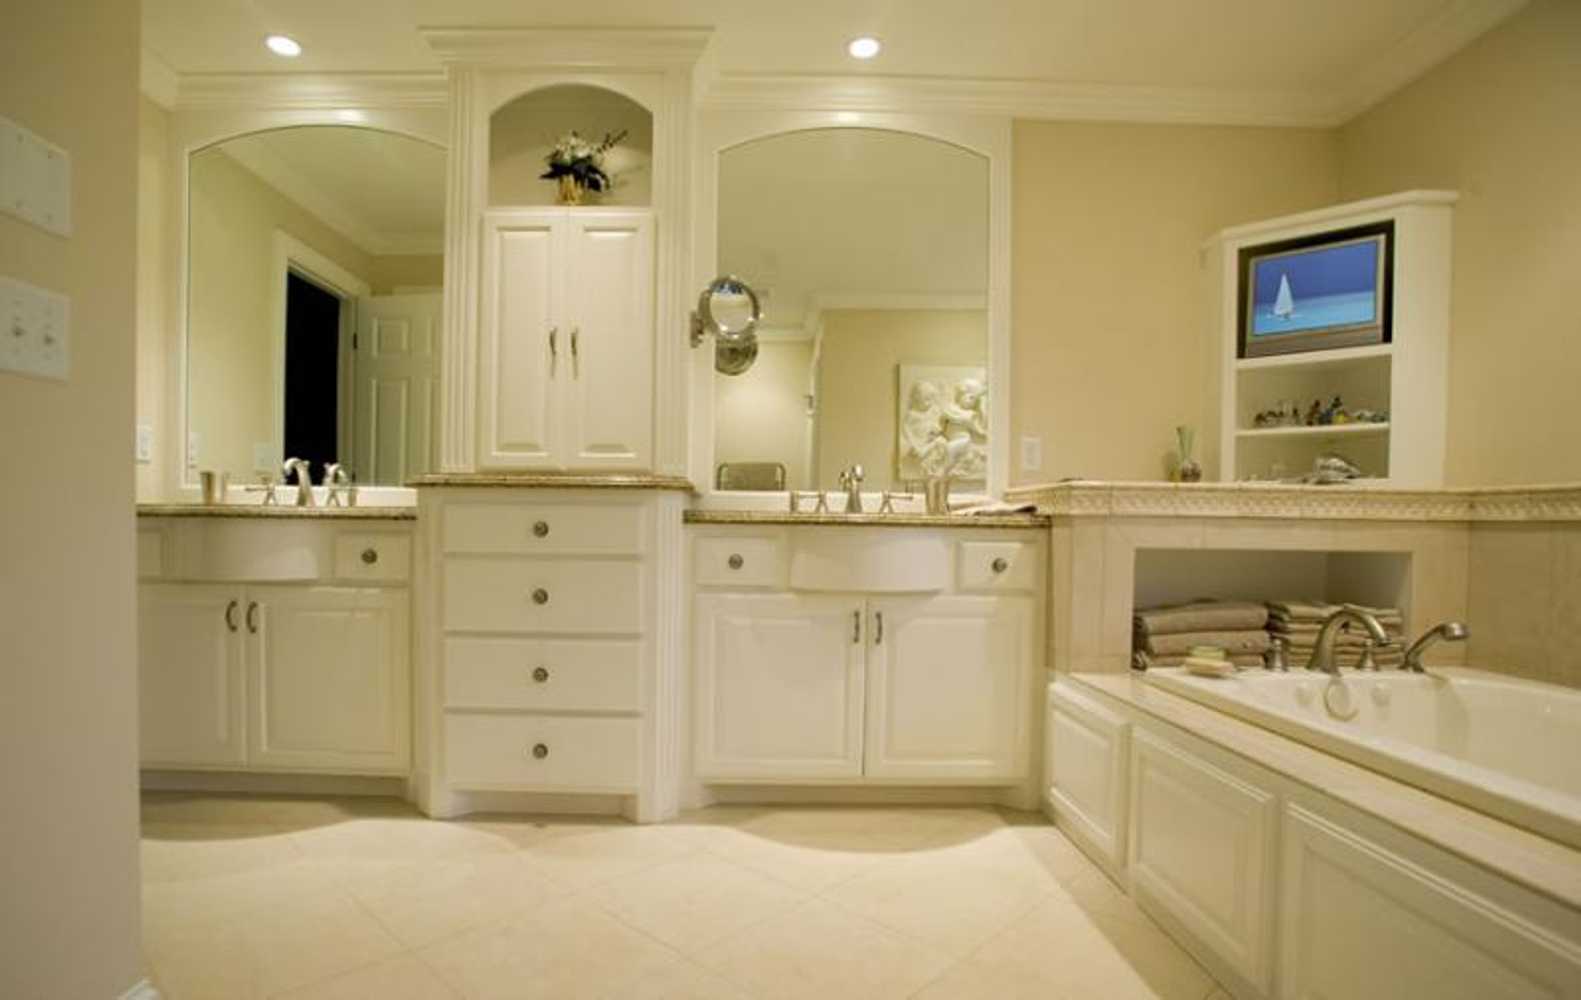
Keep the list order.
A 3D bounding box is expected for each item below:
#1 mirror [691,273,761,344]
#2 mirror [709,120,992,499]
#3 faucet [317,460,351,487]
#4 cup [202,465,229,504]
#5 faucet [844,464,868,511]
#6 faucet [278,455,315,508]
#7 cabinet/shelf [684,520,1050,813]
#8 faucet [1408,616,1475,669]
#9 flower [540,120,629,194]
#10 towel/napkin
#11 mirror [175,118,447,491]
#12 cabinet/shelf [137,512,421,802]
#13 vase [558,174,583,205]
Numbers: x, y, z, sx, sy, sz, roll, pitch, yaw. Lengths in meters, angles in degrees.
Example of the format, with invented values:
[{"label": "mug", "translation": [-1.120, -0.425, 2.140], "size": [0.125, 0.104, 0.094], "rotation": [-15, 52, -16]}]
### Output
[{"label": "mirror", "translation": [-0.281, -0.848, 4.729], "size": [0.303, 0.331, 0.192], "rotation": [-1, -1, 0]}, {"label": "mirror", "translation": [0.234, -0.798, 4.827], "size": [1.635, 2.258, 0.054], "rotation": [0, 3, -2]}, {"label": "faucet", "translation": [-2.004, -0.126, 4.789], "size": [0.109, 0.105, 0.109], "rotation": [-1, 9, -25]}, {"label": "cup", "translation": [-2.463, -0.061, 4.639], "size": [0.124, 0.152, 0.125], "rotation": [3, 0, 0]}, {"label": "faucet", "translation": [0.267, -0.065, 4.745], "size": [0.083, 0.146, 0.176], "rotation": [-1, -1, 6]}, {"label": "faucet", "translation": [-2.156, -0.096, 4.751], "size": [0.130, 0.211, 0.323], "rotation": [-1, -1, -26]}, {"label": "cabinet/shelf", "translation": [0.295, 0.610, 4.379], "size": [1.154, 0.992, 0.463], "rotation": [0, 0, 0]}, {"label": "faucet", "translation": [2.392, 0.529, 4.004], "size": [0.152, 0.223, 0.363], "rotation": [2, -7, 2]}, {"label": "flower", "translation": [-0.907, -1.477, 4.753], "size": [0.323, 0.321, 0.327], "rotation": [2, 5, -2]}, {"label": "towel/napkin", "translation": [1.828, 0.522, 4.279], "size": [0.581, 0.179, 0.455], "rotation": [0, 0, 1]}, {"label": "mirror", "translation": [-2.113, -0.827, 4.845], "size": [1.635, 2.279, 0.107], "rotation": [0, -1, -3]}, {"label": "cabinet/shelf", "translation": [-2.046, 0.567, 4.348], "size": [1.132, 1.084, 0.476], "rotation": [0, -1, -1]}, {"label": "vase", "translation": [-0.963, -1.359, 4.757], "size": [0.107, 0.138, 0.123], "rotation": [-1, -1, -13]}]
